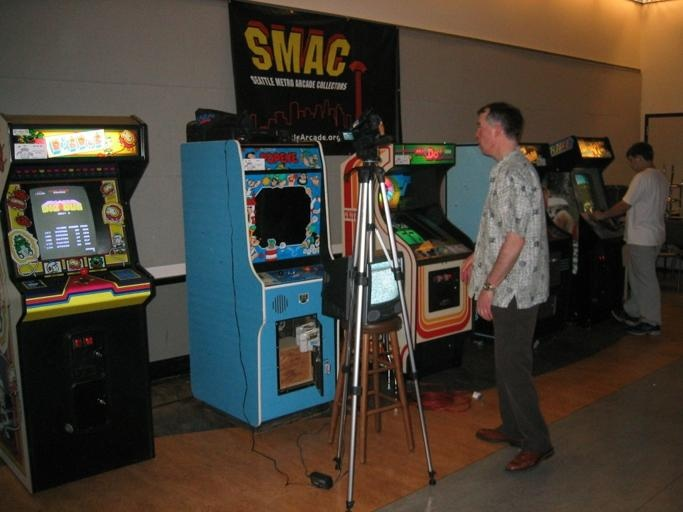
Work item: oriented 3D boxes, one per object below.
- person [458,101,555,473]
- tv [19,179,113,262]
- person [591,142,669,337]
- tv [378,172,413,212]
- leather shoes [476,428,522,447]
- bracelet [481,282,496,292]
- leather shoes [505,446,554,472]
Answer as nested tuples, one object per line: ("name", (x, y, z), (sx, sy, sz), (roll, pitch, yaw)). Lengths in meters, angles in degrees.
("person", (1.138, 0.187, 3.706), (0.596, 2.307, 0.639), (2, 13, 11))
("tv", (-1.766, -0.215, 3.569), (0.442, 0.533, 0.053), (-9, -4, -33))
("person", (3.151, -0.202, 6.099), (0.698, 1.973, 0.631), (5, 14, 25))
("tv", (0.517, -0.637, 5.161), (0.211, 0.394, 0.234), (-7, 32, -24))
("leather shoes", (1.093, 1.261, 3.965), (0.297, 0.126, 0.113), (10, 9, 25))
("bracelet", (0.920, 0.194, 3.546), (0.046, 0.035, 0.062), (11, -18, 37))
("leather shoes", (1.234, 1.313, 3.728), (0.329, 0.127, 0.088), (-15, 59, -35))
